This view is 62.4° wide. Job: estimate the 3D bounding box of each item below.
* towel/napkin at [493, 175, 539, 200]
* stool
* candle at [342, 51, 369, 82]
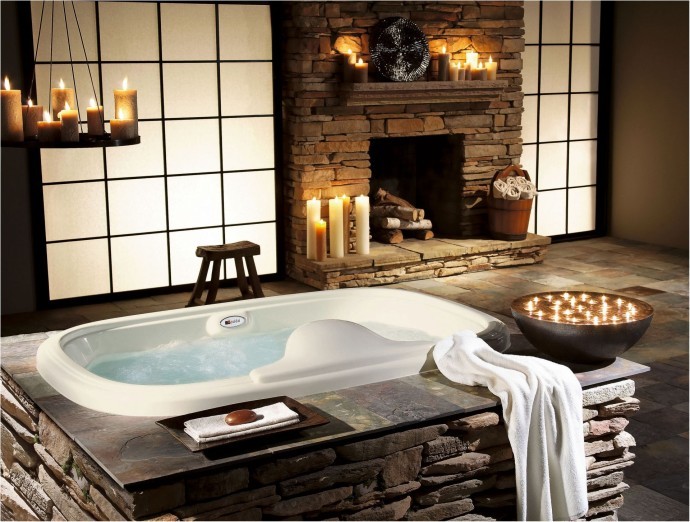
[{"bbox_3d":[1.504,-0.650,5.025,0.345,0.093,0.229,6,34,15],"label":"towel/napkin"},{"bbox_3d":[-0.882,0.086,4.014,0.572,0.415,0.310,-7,16,-30],"label":"stool"},{"bbox_3d":[0.077,-1.530,4.470,0.192,0.238,0.125,1,14,-4],"label":"candle"}]
